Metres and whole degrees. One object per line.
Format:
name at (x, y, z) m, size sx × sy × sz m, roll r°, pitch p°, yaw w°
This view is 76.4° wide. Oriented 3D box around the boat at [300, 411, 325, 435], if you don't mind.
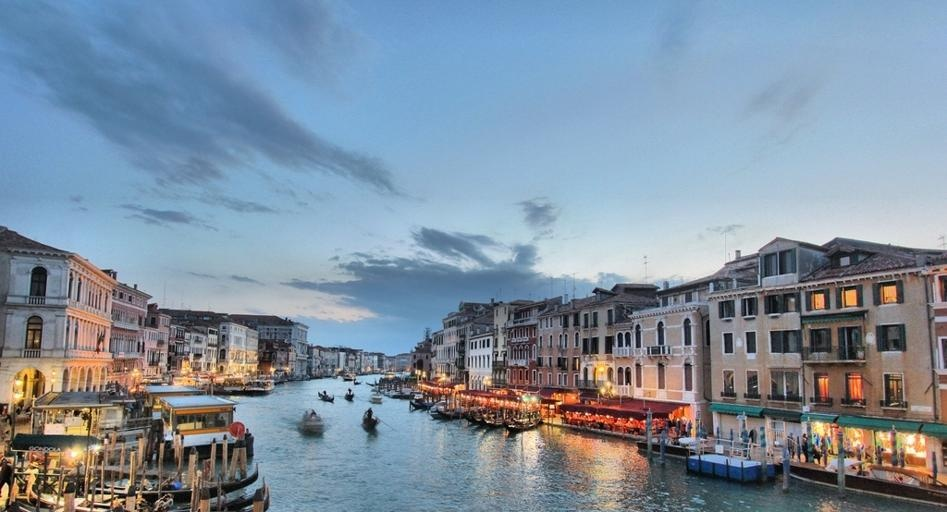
boat at (-26.018, 27.529, 95.668) m, size 2.952 × 2.215 × 5.616 m, roll 3°, pitch -2°, yaw -7°
